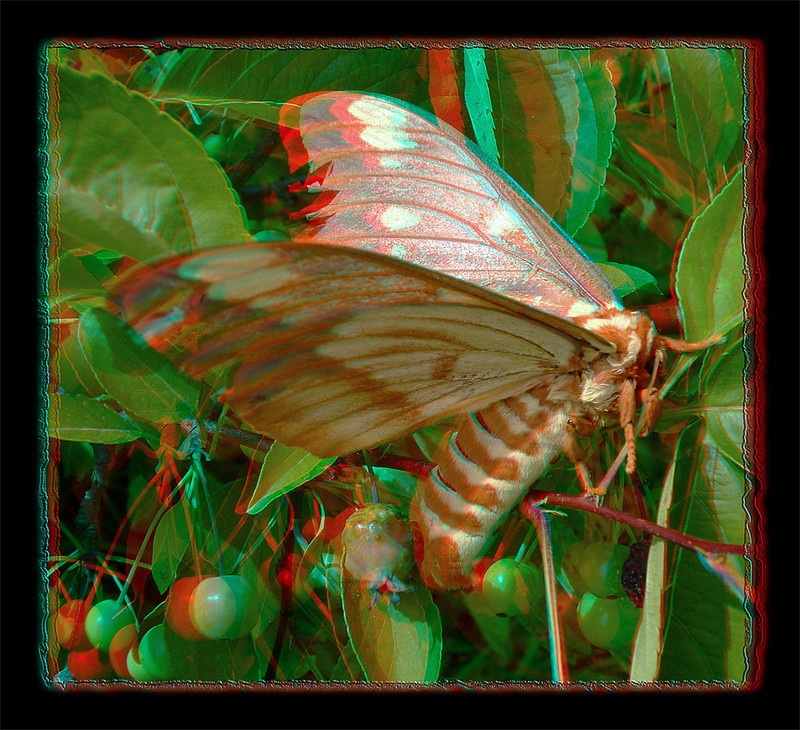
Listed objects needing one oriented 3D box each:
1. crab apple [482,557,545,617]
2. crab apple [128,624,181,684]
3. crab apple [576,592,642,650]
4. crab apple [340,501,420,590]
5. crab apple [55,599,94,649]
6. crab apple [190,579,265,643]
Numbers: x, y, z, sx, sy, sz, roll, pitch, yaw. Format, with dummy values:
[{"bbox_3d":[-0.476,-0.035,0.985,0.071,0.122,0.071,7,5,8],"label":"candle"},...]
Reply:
[{"bbox_3d":[0.179,0.369,1.540,0.119,0.123,0.094,-2,-59,7],"label":"crab apple"},{"bbox_3d":[-0.416,0.496,1.577,0.083,0.089,0.094,-10,-24,39],"label":"crab apple"},{"bbox_3d":[0.343,0.422,1.521,0.125,0.064,0.089,4,-8,8],"label":"crab apple"},{"bbox_3d":[-0.038,0.295,1.516,0.144,0.122,0.052,-8,-1,5],"label":"crab apple"},{"bbox_3d":[-0.570,0.460,1.628,0.094,0.076,0.077,0,-5,-4],"label":"crab apple"},{"bbox_3d":[-0.292,0.415,1.560,0.098,0.093,0.121,-7,-46,7],"label":"crab apple"}]
